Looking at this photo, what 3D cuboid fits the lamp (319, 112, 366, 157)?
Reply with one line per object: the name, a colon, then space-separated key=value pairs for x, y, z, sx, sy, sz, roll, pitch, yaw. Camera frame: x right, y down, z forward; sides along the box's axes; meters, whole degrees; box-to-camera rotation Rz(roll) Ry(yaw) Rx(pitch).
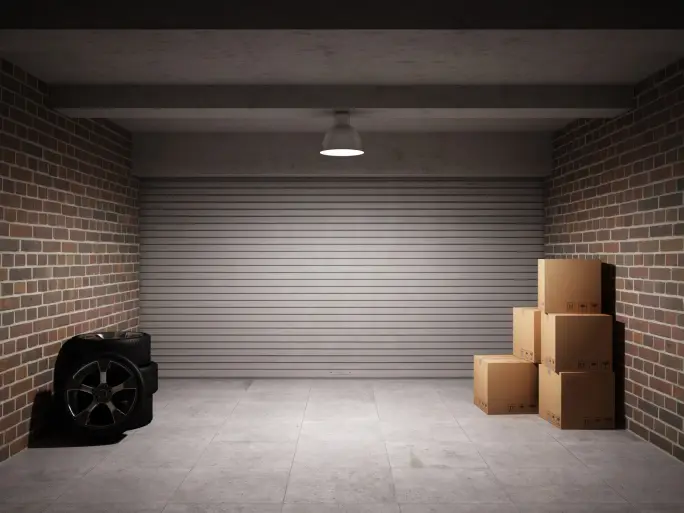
lamp: x=0.009 y=-0.993 z=4.027 sx=0.318 sy=0.291 sz=0.312 roll=0 pitch=0 yaw=-3
